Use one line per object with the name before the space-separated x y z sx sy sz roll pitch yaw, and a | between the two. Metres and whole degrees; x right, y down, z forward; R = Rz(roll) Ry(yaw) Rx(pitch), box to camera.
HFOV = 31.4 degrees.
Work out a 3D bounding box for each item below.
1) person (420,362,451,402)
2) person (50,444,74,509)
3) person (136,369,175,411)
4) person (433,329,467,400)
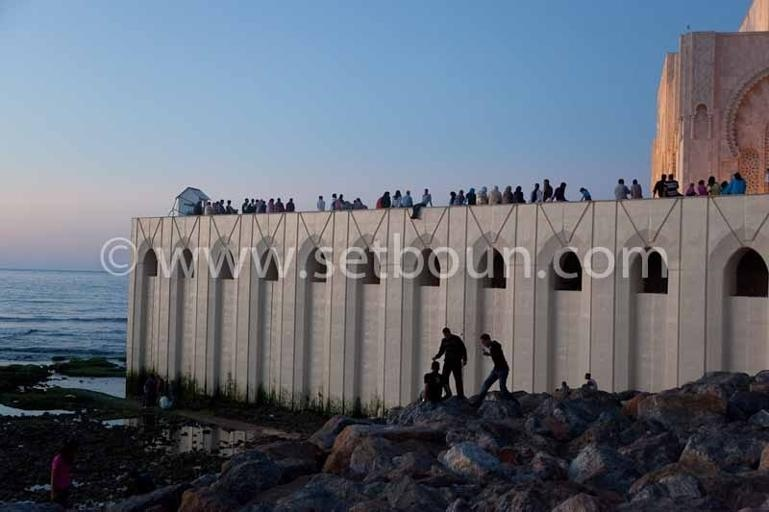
person | 1.844 4.479 47.497 1.051 1.935 1.098 1 16 4
person | -10.399 7.002 44.074 0.668 2.132 0.837 2 -4 -16
person | -9.269 5.485 55.616 0.692 1.028 1.424 18 1 -31
person | 2.357 3.678 47.201 0.961 2.386 1.196 1 -4 3
